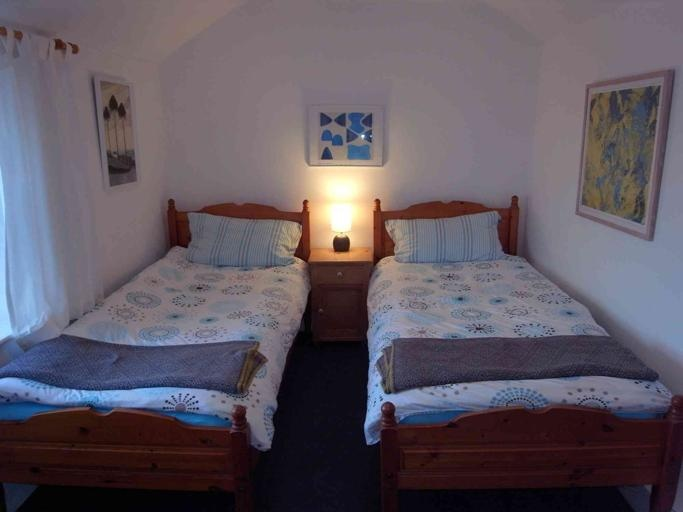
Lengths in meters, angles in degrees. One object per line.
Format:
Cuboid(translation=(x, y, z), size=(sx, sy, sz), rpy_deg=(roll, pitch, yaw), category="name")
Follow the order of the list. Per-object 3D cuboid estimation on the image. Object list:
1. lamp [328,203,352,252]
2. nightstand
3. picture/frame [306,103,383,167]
Cuboid(translation=(-0.002, -0.248, 4.457), size=(0.171, 0.403, 0.226), rpy_deg=(1, 14, 0), category="lamp")
Cuboid(translation=(-0.010, 0.322, 4.413), size=(0.716, 0.894, 0.628), rpy_deg=(0, 11, 0), category="nightstand")
Cuboid(translation=(0.027, -1.031, 4.367), size=(0.554, 0.402, 0.041), rpy_deg=(0, 21, -1), category="picture/frame")
